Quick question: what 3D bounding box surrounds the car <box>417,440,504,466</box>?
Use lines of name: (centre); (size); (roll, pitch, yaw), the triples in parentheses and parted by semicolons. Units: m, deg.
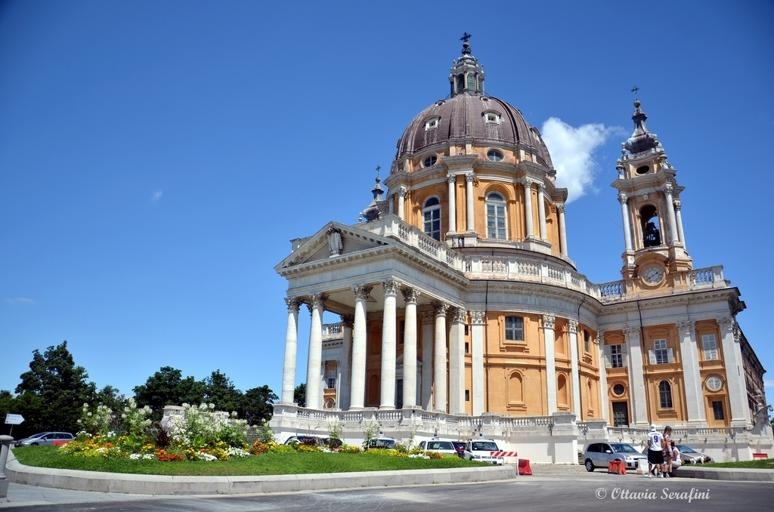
car: (4.469, 11.238, 34.637); (4.491, 1.439, 3.083); (-5, -21, 12)
